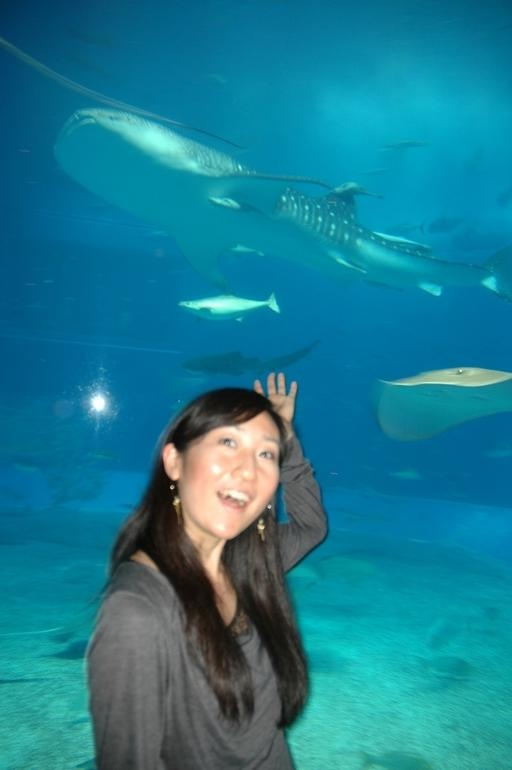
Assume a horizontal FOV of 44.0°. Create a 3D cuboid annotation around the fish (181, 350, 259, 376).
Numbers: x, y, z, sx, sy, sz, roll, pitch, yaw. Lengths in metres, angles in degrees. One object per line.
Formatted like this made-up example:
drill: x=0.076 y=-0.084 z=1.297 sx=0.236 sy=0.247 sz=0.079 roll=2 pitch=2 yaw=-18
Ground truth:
fish: x=-0.156 y=-0.106 z=3.356 sx=0.470 sy=0.150 sz=0.122 roll=0 pitch=4 yaw=1
